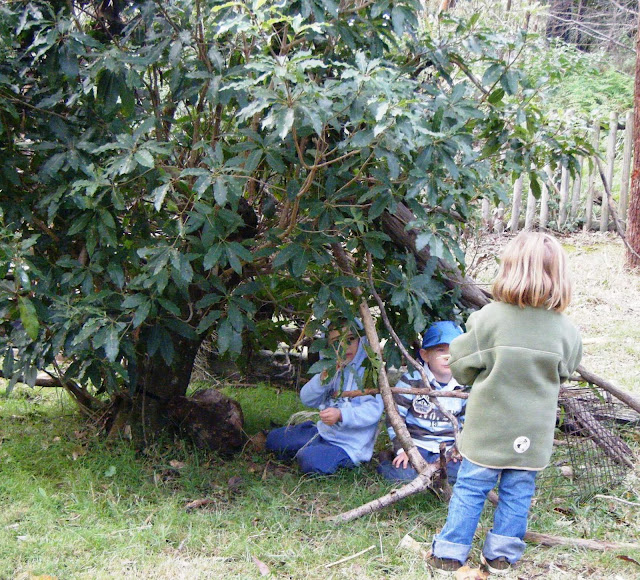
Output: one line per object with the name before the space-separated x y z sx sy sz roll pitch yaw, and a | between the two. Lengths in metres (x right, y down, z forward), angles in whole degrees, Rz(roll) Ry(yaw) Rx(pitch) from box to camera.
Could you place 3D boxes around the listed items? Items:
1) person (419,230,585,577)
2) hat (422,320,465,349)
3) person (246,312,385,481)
person | 0.768 0.445 2.459 0.528 1.360 0.376 7 9 9
hat | 0.645 0.242 3.213 0.165 0.083 0.188 -12 -3 -3
person | 0.077 0.593 3.330 0.592 0.933 0.831 3 7 -12
